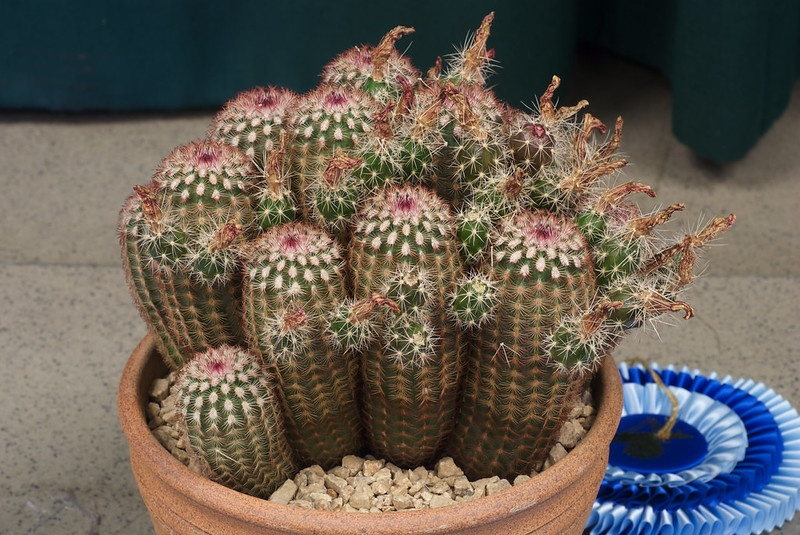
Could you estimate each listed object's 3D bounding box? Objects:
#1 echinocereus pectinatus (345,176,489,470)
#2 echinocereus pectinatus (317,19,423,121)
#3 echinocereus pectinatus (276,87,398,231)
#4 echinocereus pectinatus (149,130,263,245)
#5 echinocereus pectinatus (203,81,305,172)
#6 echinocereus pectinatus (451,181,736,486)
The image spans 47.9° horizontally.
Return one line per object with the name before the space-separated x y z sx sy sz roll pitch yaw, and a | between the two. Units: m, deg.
echinocereus pectinatus | 0.038 0.169 2.156 0.293 0.677 0.300 14 22 35
echinocereus pectinatus | -0.071 -0.433 2.191 0.251 0.272 0.250 6 31 -4
echinocereus pectinatus | -0.147 -0.242 2.089 0.299 0.372 0.293 -1 2 -14
echinocereus pectinatus | -0.443 -0.187 2.078 0.232 0.243 0.235 0 14 -3
echinocereus pectinatus | -0.341 -0.352 2.179 0.213 0.227 0.218 1 20 -1
echinocereus pectinatus | 0.296 0.187 2.109 0.303 0.585 0.351 20 38 22
